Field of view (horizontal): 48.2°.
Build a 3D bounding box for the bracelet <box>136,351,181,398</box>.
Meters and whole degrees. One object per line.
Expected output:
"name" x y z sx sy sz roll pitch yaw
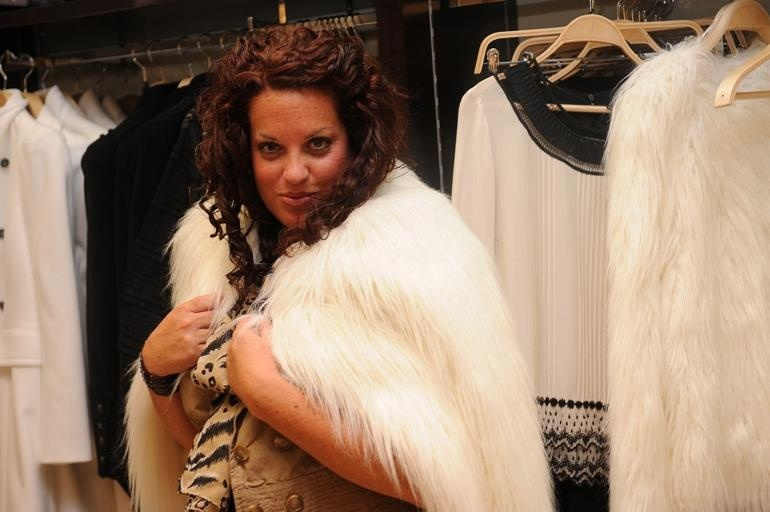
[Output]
"bracelet" -0.596 0.313 2.273 0.084 0.102 0.109 0 8 -10
